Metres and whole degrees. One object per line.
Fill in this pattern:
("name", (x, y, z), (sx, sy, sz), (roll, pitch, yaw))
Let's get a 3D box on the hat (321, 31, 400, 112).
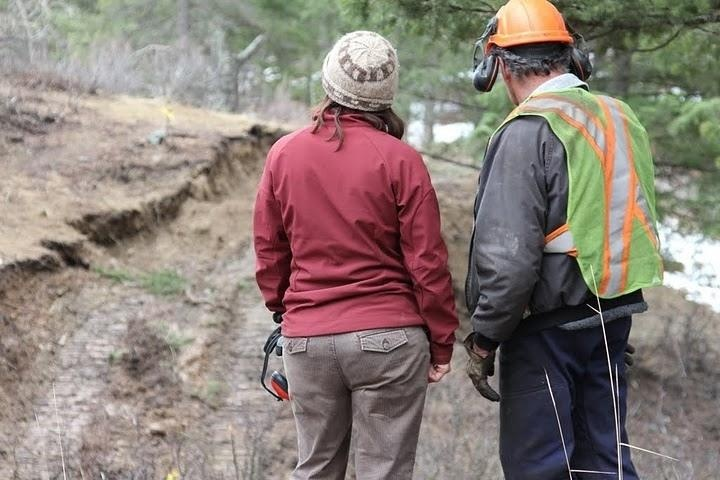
("hat", (0.017, -1.452, 12.202), (0.635, 0.676, 0.415), (-3, -22, -17))
